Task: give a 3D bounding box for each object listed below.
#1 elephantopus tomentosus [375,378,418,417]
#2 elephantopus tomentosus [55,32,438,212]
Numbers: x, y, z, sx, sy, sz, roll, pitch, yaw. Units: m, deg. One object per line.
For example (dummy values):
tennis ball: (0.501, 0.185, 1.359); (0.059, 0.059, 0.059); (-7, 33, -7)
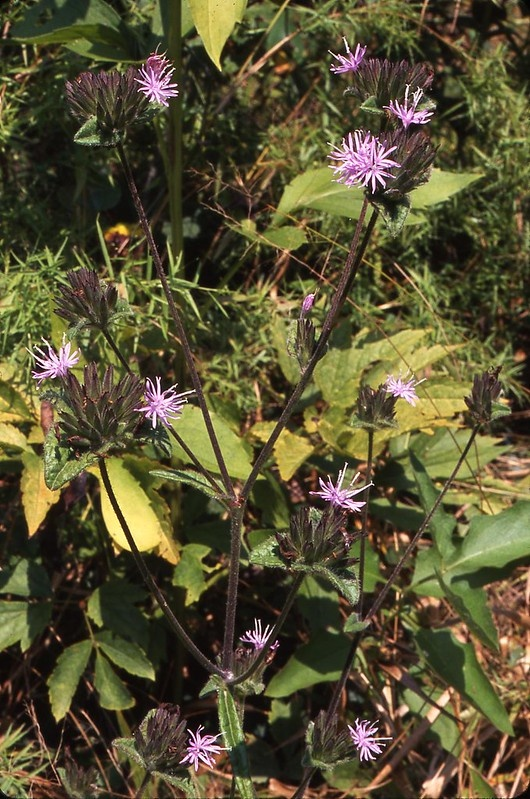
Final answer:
elephantopus tomentosus: (0.266, 0.000, 1.419); (0.068, 0.066, 0.081); (-18, -4, -13)
elephantopus tomentosus: (-0.010, -0.398, 1.011); (0.534, 0.201, 0.369); (-5, 32, -13)
